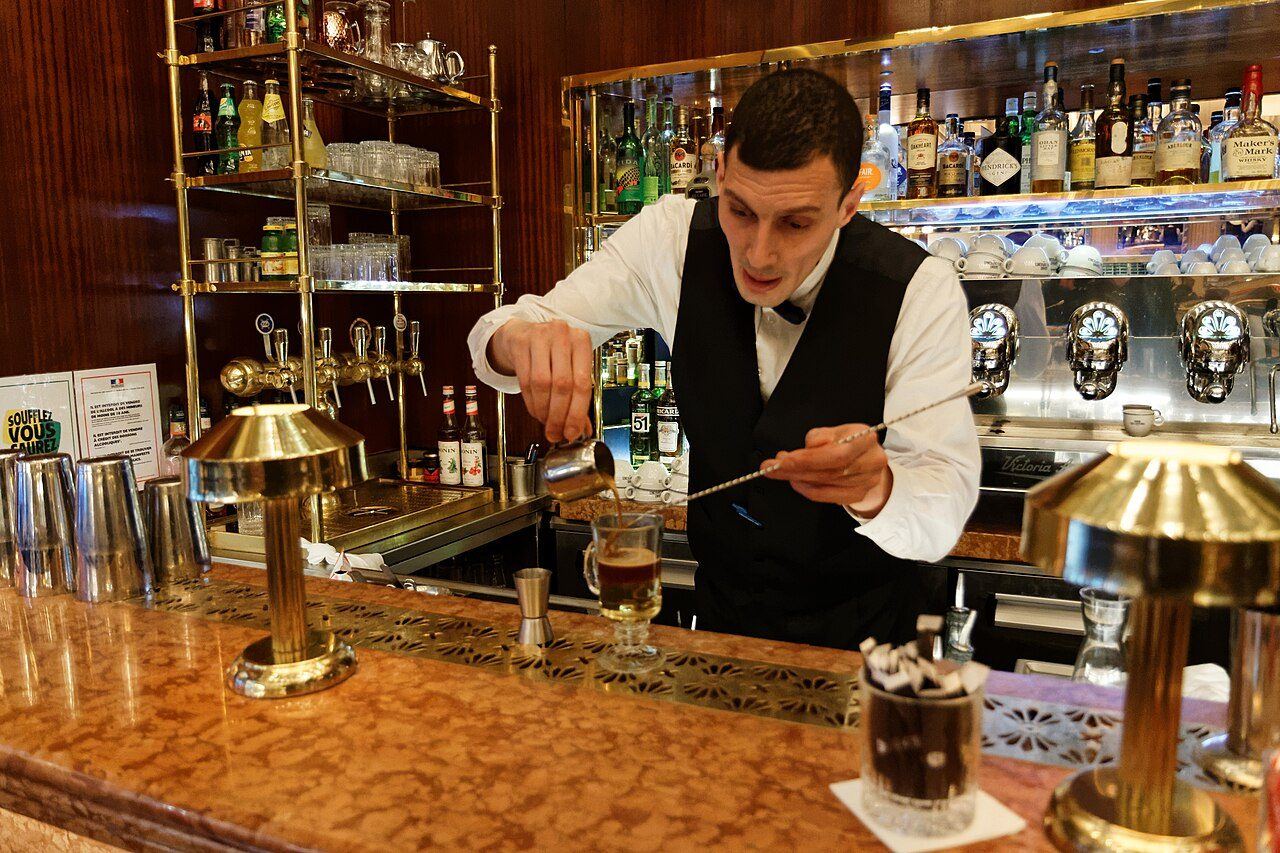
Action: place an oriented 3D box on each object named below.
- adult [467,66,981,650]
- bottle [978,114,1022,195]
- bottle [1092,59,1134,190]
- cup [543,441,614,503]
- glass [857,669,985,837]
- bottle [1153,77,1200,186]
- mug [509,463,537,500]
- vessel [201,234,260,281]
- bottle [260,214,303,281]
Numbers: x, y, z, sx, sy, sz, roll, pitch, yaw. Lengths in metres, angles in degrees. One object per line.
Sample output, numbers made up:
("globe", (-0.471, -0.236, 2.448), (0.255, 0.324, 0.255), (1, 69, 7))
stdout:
("adult", (0.232, 0.216, 2.897), (1.253, 2.056, 1.143), (-4, 25, -5))
("bottle", (1.299, -0.966, 3.676), (0.144, 0.309, 0.071), (6, 34, 26))
("bottle", (1.636, -1.029, 3.518), (0.120, 0.437, 0.230), (1, 10, 26))
("cup", (-0.135, 0.097, 2.367), (0.149, 0.105, 0.171), (-12, 15, 12))
("glass", (0.461, 0.565, 1.874), (0.256, 0.286, 0.261), (-1, 4, 10))
("bottle", (1.831, -0.979, 3.464), (0.140, 0.339, 0.286), (1, 10, 27))
("mug", (-0.469, 0.223, 4.134), (0.138, 0.135, 0.124), (1, 2, 13))
("vessel", (-1.423, -0.577, 3.554), (0.139, 0.220, 0.227), (-3, 5, -42))
("bottle", (-1.283, -0.635, 3.643), (0.151, 0.250, 0.148), (10, 35, -7))
